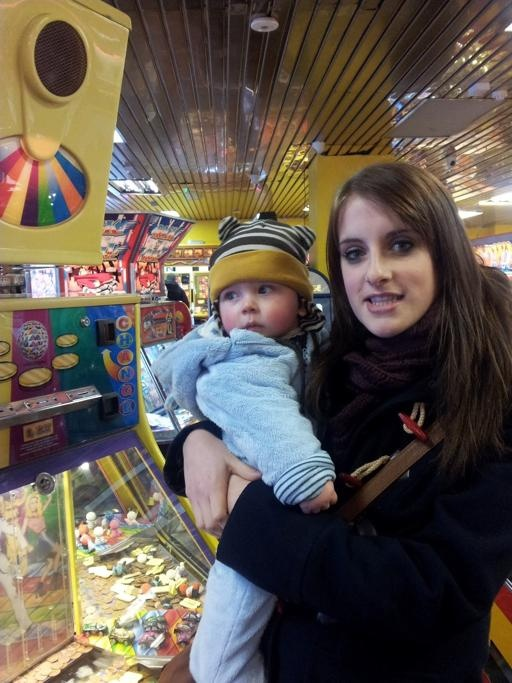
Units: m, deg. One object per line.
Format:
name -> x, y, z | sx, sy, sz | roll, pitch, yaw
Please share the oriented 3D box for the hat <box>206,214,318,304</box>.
hat -> 0.042, -0.182, 1.171 | 0.237, 0.207, 0.254 | -1, 1, 17
